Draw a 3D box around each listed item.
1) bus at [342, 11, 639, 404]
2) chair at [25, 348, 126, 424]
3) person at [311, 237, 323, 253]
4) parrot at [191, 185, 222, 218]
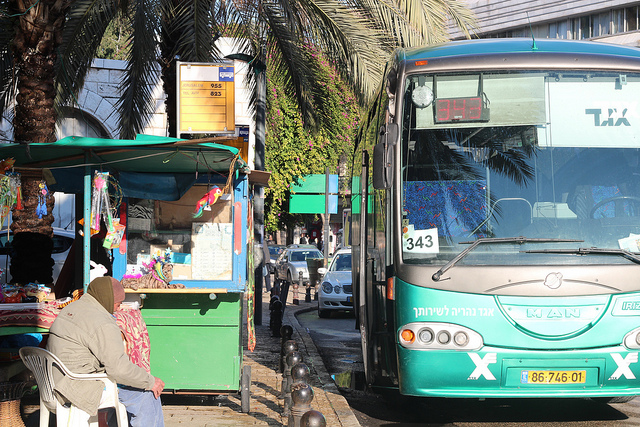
[{"bbox_3d":[2.425,0.021,10.529,2.247,3.017,6.547,0,-6,-5],"label":"bus"},{"bbox_3d":[-2.675,1.953,8.982,0.819,1.218,0.826,-3,2,-28],"label":"chair"},{"bbox_3d":[-0.090,2.196,57.812,0.844,0.870,3.034,-1,-4,-3],"label":"person"},{"bbox_3d":[-1.563,-0.193,11.348,0.514,0.380,0.203,-16,30,-7],"label":"parrot"}]
